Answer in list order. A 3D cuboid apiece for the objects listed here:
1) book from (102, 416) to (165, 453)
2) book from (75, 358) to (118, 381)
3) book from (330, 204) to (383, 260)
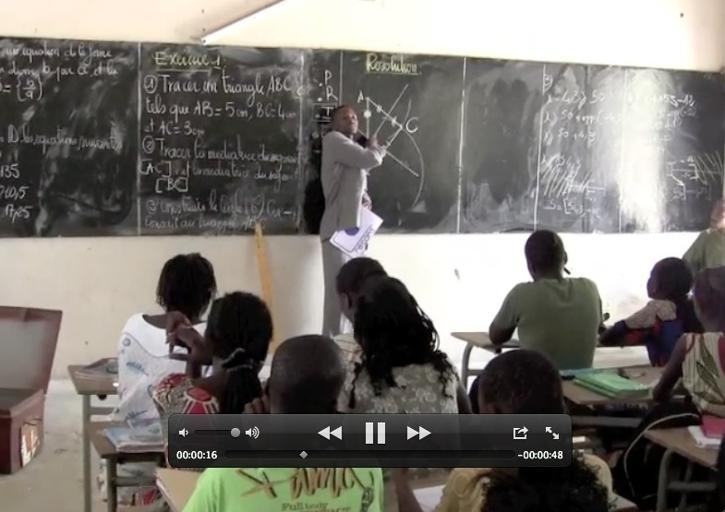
[{"bbox_3d":[-0.362,0.286,0.949,0.076,0.025,0.081,-1,-28,4],"label":"book"},{"bbox_3d":[-0.394,0.167,0.889,0.055,0.030,0.014,0,1,-27],"label":"book"},{"bbox_3d":[-0.008,-0.029,0.866,0.071,0.072,0.017,33,8,-27],"label":"book"}]
